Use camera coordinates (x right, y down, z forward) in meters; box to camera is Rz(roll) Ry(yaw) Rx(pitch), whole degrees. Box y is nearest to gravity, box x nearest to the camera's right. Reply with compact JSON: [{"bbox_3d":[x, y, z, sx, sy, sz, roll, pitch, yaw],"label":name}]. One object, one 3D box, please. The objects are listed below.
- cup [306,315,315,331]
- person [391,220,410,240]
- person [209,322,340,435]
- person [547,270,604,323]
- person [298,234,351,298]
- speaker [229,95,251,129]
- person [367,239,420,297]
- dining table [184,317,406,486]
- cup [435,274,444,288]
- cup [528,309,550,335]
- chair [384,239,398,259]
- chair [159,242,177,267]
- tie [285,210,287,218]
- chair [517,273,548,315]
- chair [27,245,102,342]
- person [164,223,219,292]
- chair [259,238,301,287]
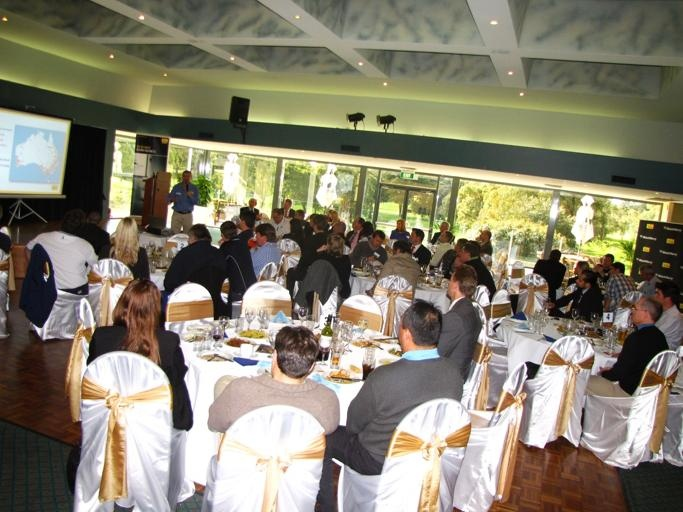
[{"bbox_3d":[-0.278,0.640,4.440,0.089,0.113,0.095,-1,1,0],"label":"cup"},{"bbox_3d":[1.344,-0.585,10.880,0.428,0.485,0.974,6,5,6],"label":"person"},{"bbox_3d":[-0.453,0.839,3.161,0.609,0.407,1.076,17,-28,-10],"label":"person"},{"bbox_3d":[3.325,0.628,6.766,0.646,0.774,0.554,2,12,38],"label":"person"},{"bbox_3d":[-0.171,0.189,6.504,0.631,1.019,0.603,-13,24,-43],"label":"person"},{"bbox_3d":[-2.623,-3.702,12.215,0.447,0.766,0.408,4,5,-17],"label":"speaker"},{"bbox_3d":[0.764,0.202,7.225,0.536,0.976,0.539,11,24,-8],"label":"person"},{"bbox_3d":[-0.378,1.167,3.393,1.227,1.826,1.071,6,46,-3],"label":"dining table"},{"bbox_3d":[1.613,0.420,7.877,0.141,0.161,0.274,3,2,10],"label":"cup"},{"bbox_3d":[2.404,0.817,5.786,0.221,0.404,0.247,1,-2,-23],"label":"cup"},{"bbox_3d":[1.007,-0.177,10.258,0.361,0.423,0.295,-2,3,1],"label":"chair"},{"bbox_3d":[-2.430,-0.007,6.687,0.185,0.342,0.207,-5,-30,22],"label":"chair"},{"bbox_3d":[-1.373,-1.054,11.972,0.093,0.147,0.047,-2,31,-8],"label":"tie"},{"bbox_3d":[3.098,0.620,7.709,0.432,0.462,0.409,8,6,23],"label":"chair"},{"bbox_3d":[-3.242,0.420,5.546,0.690,1.274,0.694,17,18,25],"label":"chair"},{"bbox_3d":[-1.701,0.040,5.501,0.601,0.809,0.295,4,5,-18],"label":"person"},{"bbox_3d":[-0.982,0.089,7.927,0.606,0.922,0.580,5,9,-20],"label":"chair"}]
